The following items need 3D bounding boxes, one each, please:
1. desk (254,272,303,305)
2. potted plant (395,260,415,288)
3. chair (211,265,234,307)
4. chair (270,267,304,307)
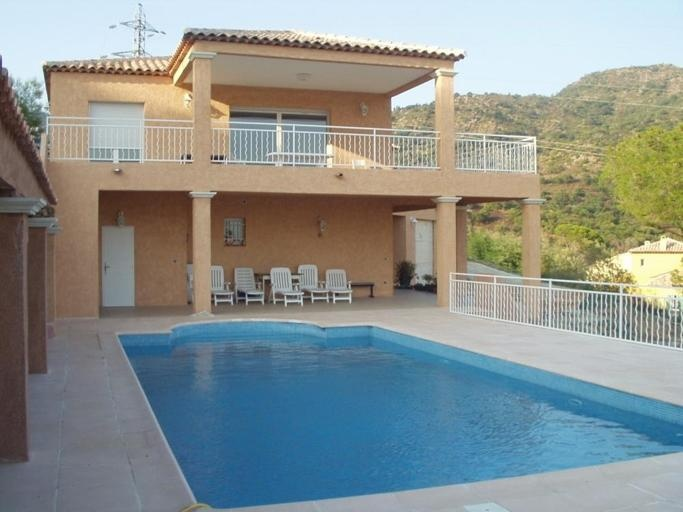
[{"bbox_3d":[-1.579,0.771,17.863,0.613,1.040,1.414,-1,-7,-15],"label":"desk"},{"bbox_3d":[2.074,0.607,22.913,0.612,0.871,0.514,-1,8,8],"label":"potted plant"},{"bbox_3d":[-3.103,0.764,17.643,0.574,1.021,1.579,-4,9,-10],"label":"chair"},{"bbox_3d":[-1.368,0.812,17.928,0.647,1.021,1.100,1,-3,-21],"label":"chair"}]
